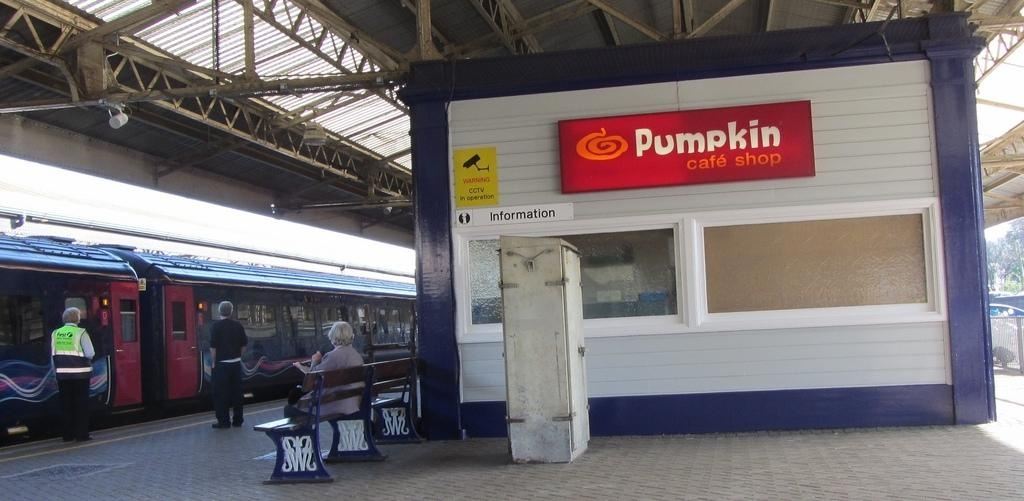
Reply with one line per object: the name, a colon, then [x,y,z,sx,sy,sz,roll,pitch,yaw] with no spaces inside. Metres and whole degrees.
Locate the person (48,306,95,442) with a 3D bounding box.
person: [-10.771,3.019,20.458,0.868,3.252,0.568,-2,-7,-20]

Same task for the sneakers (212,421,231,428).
sneakers: [-7.505,4.474,21.435,0.536,0.185,0.174,3,0,24]

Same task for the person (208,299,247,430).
person: [-7.441,2.962,21.892,0.857,3.242,1.083,-2,-7,-20]

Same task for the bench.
bench: [-4.154,3.348,17.697,1.491,1.664,4.281,-11,-19,5]

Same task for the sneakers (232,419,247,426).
sneakers: [-7.079,4.474,21.596,0.160,0.130,0.202,-2,-11,9]
